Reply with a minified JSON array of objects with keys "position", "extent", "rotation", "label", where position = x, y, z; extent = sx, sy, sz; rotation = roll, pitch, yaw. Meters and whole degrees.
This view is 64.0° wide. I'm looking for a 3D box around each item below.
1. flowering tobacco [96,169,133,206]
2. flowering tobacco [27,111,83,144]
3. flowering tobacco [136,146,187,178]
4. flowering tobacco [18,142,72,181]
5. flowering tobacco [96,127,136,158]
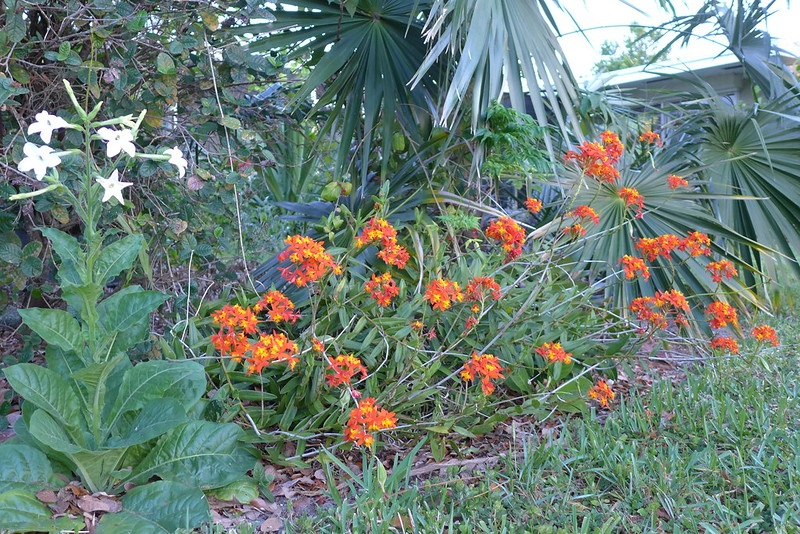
[{"position":[-1.097,-0.308,2.429],"extent":[0.090,0.120,0.186],"rotation":[0,9,-26],"label":"flowering tobacco"},{"position":[-1.322,-0.530,2.409],"extent":[0.138,0.126,0.308],"rotation":[-1,10,-33],"label":"flowering tobacco"},{"position":[-0.929,-0.418,2.510],"extent":[0.157,0.107,0.365],"rotation":[1,9,-16],"label":"flowering tobacco"},{"position":[-1.323,-0.388,2.361],"extent":[0.150,0.134,0.230],"rotation":[-2,10,-36],"label":"flowering tobacco"},{"position":[-1.106,-0.484,2.478],"extent":[0.122,0.109,0.413],"rotation":[0,9,-25],"label":"flowering tobacco"}]
